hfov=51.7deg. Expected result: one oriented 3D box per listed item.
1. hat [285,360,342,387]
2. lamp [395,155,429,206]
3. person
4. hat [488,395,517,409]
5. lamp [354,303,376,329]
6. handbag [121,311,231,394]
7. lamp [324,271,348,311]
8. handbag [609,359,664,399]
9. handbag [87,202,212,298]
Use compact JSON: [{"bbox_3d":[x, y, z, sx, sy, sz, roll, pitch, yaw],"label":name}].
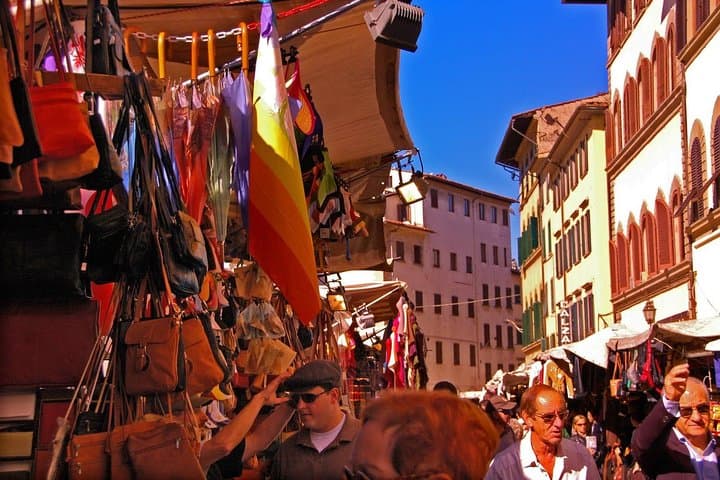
[{"bbox_3d":[-0.299,0.923,5.104,0.259,0.117,0.207,9,-17,-31],"label":"hat"},{"bbox_3d":[0.846,-1.072,12.624,0.506,0.840,0.492,-15,10,41],"label":"lamp"},{"bbox_3d":[0.266,1.324,5.430,2.830,0.790,0.508,8,-19,-20],"label":"person"},{"bbox_3d":[1.616,1.837,8.381,0.260,0.104,0.174,1,16,-1],"label":"hat"},{"bbox_3d":[0.140,1.689,16.514,0.388,0.585,0.567,4,-10,-40],"label":"lamp"},{"bbox_3d":[-1.124,0.725,4.554,0.601,0.481,0.469,-7,-26,23],"label":"handbag"},{"bbox_3d":[-0.369,0.668,11.327,0.278,0.282,0.781,-5,-48,8],"label":"lamp"},{"bbox_3d":[4.859,2.350,13.094,0.666,0.416,0.886,-14,15,19],"label":"handbag"},{"bbox_3d":[-1.280,0.057,4.575,0.652,0.516,0.321,14,-47,-28],"label":"handbag"}]
